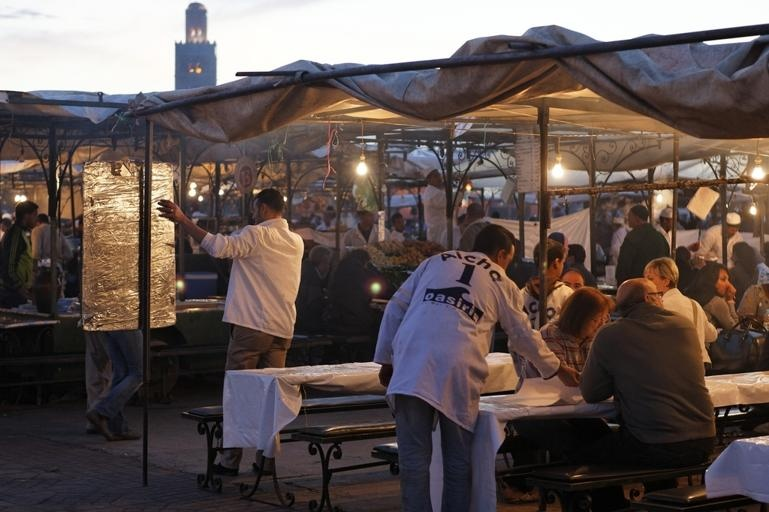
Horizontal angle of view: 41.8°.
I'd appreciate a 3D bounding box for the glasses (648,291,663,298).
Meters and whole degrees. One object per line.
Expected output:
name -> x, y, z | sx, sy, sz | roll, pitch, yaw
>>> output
glasses -> 2.555, 0.369, 9.568 | 0.156, 0.042, 0.148 | 2, 0, 3
